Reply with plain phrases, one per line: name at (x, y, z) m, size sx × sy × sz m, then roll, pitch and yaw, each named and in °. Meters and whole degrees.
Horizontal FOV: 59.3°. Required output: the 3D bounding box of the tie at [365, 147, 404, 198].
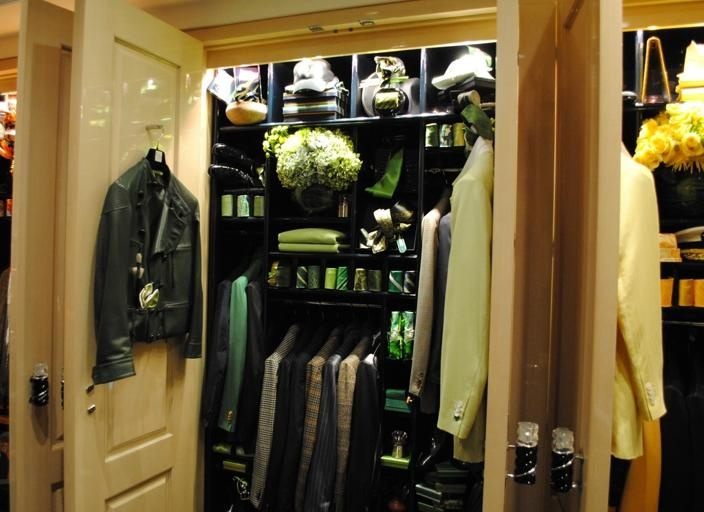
tie at (0.215, -0.468, 3.598) m, size 0.084 × 0.301 × 0.195 m, roll 29°, pitch -10°, yaw -40°

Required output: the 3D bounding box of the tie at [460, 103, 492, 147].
tie at (0.573, -0.617, 2.914) m, size 0.162 × 0.168 × 0.056 m, roll 16°, pitch -32°, yaw -33°

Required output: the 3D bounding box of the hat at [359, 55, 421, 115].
hat at (0.192, -0.953, 3.526) m, size 0.333 × 0.342 × 0.196 m, roll 2°, pitch 1°, yaw 28°

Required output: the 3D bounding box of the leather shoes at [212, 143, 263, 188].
leather shoes at (-0.690, -0.514, 3.697) m, size 0.094 × 0.215 × 0.313 m, roll -13°, pitch -13°, yaw 33°

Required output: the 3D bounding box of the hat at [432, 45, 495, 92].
hat at (0.608, -1.014, 3.358) m, size 0.327 × 0.231 × 0.242 m, roll 1°, pitch 1°, yaw 8°

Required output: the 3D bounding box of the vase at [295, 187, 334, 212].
vase at (-0.229, -0.320, 3.721) m, size 0.170 × 0.136 × 0.158 m, roll 0°, pitch 0°, yaw 34°

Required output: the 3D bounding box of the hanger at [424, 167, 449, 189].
hanger at (0.495, -0.466, 3.622) m, size 0.101 × 0.045 × 0.153 m, roll 2°, pitch -11°, yaw 10°

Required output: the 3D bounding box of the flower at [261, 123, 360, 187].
flower at (-0.221, -0.565, 3.588) m, size 0.434 × 0.270 × 0.369 m, roll 0°, pitch -4°, yaw 37°

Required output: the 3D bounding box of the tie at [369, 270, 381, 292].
tie at (0.134, 0.139, 3.519) m, size 0.090 × 0.161 × 0.105 m, roll 0°, pitch -2°, yaw 12°

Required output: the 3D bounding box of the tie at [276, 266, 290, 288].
tie at (-0.404, 0.118, 3.580) m, size 0.090 × 0.170 × 0.101 m, roll 0°, pitch 2°, yaw 1°

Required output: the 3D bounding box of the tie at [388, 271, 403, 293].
tie at (0.249, 0.142, 3.471) m, size 0.091 × 0.160 × 0.103 m, roll 1°, pitch -1°, yaw 0°

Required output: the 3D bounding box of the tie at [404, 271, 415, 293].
tie at (0.327, 0.145, 3.446) m, size 0.069 × 0.123 × 0.029 m, roll 1°, pitch 1°, yaw 7°

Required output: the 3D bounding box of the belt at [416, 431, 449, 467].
belt at (0.452, 1.066, 3.432) m, size 0.095 × 0.138 × 0.326 m, roll -2°, pitch -12°, yaw 24°

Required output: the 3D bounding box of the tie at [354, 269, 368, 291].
tie at (0.046, 0.142, 3.617) m, size 0.099 × 0.159 × 0.108 m, roll 0°, pitch -1°, yaw -2°
